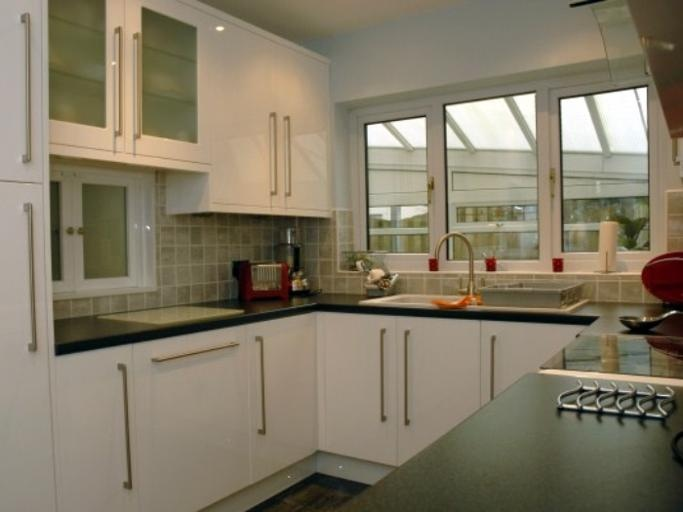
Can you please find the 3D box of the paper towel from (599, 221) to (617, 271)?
[{"bbox_3d":[1.534,-0.052,3.230,0.122,0.285,0.094,-2,5,5],"label":"paper towel"}]

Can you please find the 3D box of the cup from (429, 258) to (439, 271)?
[{"bbox_3d":[0.588,0.059,3.695,0.073,0.112,0.077,0,-2,0],"label":"cup"}]

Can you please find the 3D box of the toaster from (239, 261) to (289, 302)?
[{"bbox_3d":[-0.509,0.163,3.621,0.381,0.238,0.394,-1,0,-22],"label":"toaster"}]

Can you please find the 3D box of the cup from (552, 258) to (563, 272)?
[{"bbox_3d":[1.296,0.058,3.389,0.067,0.091,0.071,0,-1,0],"label":"cup"}]

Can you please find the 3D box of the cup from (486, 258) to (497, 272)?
[{"bbox_3d":[0.932,0.057,3.543,0.072,0.091,0.073,1,-5,0],"label":"cup"}]
